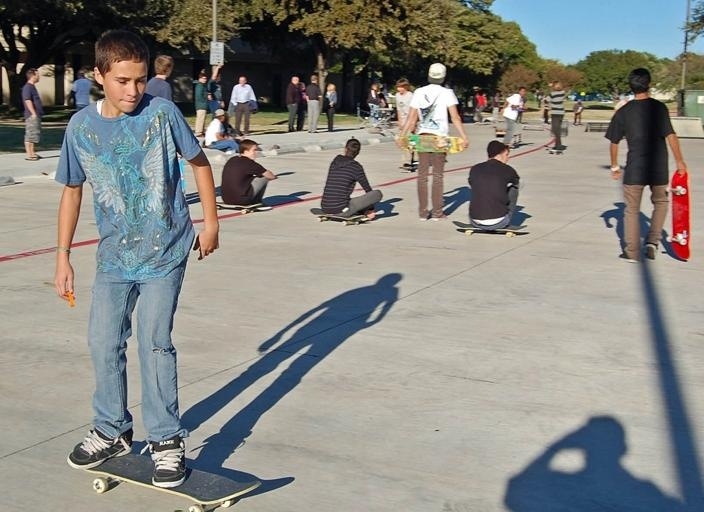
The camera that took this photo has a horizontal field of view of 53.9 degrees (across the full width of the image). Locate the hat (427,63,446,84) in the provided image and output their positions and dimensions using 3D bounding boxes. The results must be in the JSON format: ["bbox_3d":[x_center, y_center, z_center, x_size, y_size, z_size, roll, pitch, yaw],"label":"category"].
[{"bbox_3d":[1.411,-3.106,11.569,0.358,0.137,0.389,3,39,5],"label":"hat"}]

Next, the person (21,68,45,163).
[{"bbox_3d":[-8.000,-3.534,17.342,0.509,2.204,1.369,-7,12,-24],"label":"person"}]

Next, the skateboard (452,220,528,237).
[{"bbox_3d":[2.140,-0.411,10.729,1.536,0.179,0.330,1,18,-9],"label":"skateboard"}]

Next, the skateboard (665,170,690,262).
[{"bbox_3d":[4.333,-0.530,9.118,0.240,1.167,0.318,0,4,-43],"label":"skateboard"}]

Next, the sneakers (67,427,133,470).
[{"bbox_3d":[-1.504,1.143,4.147,0.172,0.168,0.431,23,15,29],"label":"sneakers"}]

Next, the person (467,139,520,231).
[{"bbox_3d":[2.148,-1.084,10.542,0.744,1.369,0.655,1,11,14],"label":"person"}]

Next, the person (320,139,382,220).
[{"bbox_3d":[-0.188,-1.330,11.641,1.271,1.191,1.067,15,17,18],"label":"person"}]

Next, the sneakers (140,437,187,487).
[{"bbox_3d":[-1.040,1.170,3.927,0.188,0.228,0.219,-3,10,-11],"label":"sneakers"}]

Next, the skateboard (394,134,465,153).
[{"bbox_3d":[1.334,-1.891,11.525,1.206,0.329,0.503,6,11,40],"label":"skateboard"}]

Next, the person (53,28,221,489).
[{"bbox_3d":[-1.330,-0.017,4.033,0.970,2.570,0.739,2,12,19],"label":"person"}]

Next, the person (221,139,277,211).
[{"bbox_3d":[-1.872,-1.434,12.293,0.840,1.308,0.639,-4,11,-16],"label":"person"}]

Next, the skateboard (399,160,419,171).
[{"bbox_3d":[1.524,-2.387,18.609,0.313,0.255,0.777,0,-1,14],"label":"skateboard"}]

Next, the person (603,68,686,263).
[{"bbox_3d":[3.883,-1.253,9.258,0.990,2.556,1.180,3,12,20],"label":"person"}]

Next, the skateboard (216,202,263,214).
[{"bbox_3d":[-2.098,-0.891,12.497,1.002,0.270,0.251,-4,10,-7],"label":"skateboard"}]
